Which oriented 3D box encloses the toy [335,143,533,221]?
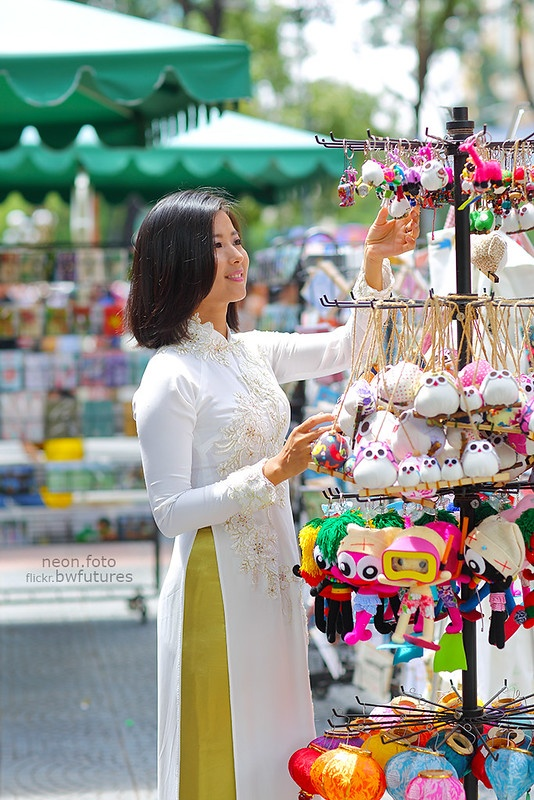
[{"bbox_3d":[0.413,-0.534,3.717,0.483,0.236,0.300,-2,8,10],"label":"toy"}]
